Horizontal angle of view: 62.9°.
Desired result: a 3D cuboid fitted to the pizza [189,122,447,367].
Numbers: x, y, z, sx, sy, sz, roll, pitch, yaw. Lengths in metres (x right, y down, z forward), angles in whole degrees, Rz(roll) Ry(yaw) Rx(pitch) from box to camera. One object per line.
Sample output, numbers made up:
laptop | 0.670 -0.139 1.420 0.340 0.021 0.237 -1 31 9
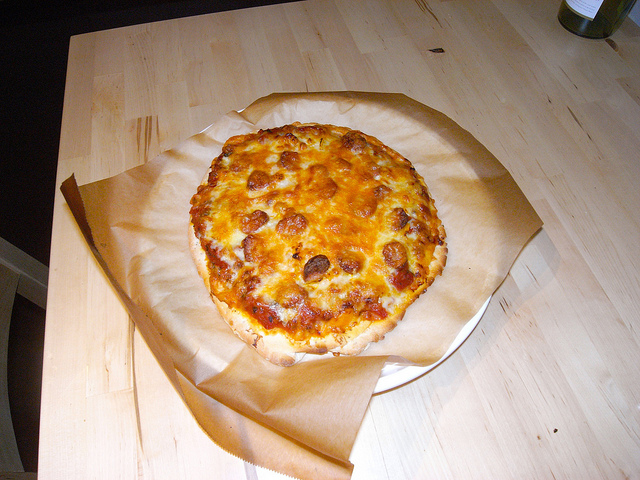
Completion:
pizza | -0.012 -0.047 1.970 0.977 0.150 0.962 -8 72 -2
